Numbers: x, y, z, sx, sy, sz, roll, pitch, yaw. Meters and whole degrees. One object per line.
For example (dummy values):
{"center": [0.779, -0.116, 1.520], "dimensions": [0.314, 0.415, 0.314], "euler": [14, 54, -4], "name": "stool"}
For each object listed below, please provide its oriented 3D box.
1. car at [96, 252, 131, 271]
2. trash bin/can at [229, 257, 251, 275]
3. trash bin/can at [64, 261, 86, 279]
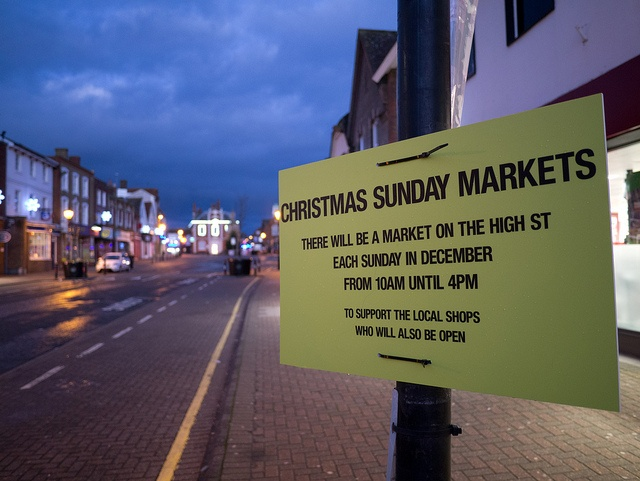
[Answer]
{"center": [-14.179, 1.546, 36.740], "dimensions": [1.793, 1.260, 2.686], "euler": [-2, 4, -15], "name": "car"}
{"center": [-4.989, 1.598, 32.919], "dimensions": [0.834, 1.313, 1.620], "euler": [1, 0, -27], "name": "trash bin/can"}
{"center": [-13.238, 1.585, 28.894], "dimensions": [0.887, 0.809, 0.947], "euler": [0, 2, 28], "name": "trash bin/can"}
